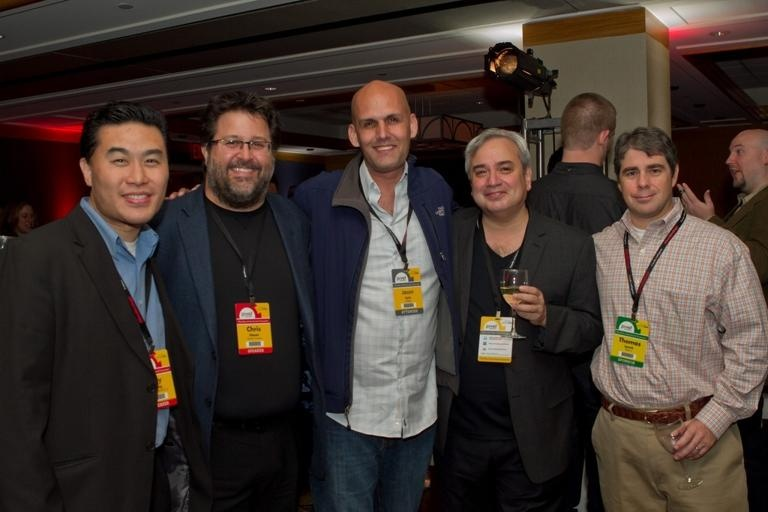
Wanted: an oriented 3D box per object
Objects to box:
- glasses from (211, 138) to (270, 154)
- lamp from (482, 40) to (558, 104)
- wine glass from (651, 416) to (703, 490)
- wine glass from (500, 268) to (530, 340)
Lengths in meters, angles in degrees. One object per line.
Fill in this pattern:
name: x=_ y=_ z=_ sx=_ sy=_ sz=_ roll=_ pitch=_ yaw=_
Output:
glasses: x=-0.769 y=-0.600 z=2.927 sx=0.307 sy=0.071 sz=0.076 roll=-3 pitch=6 yaw=-13
lamp: x=1.419 y=-1.813 z=5.408 sx=0.766 sy=0.432 sz=0.443 roll=6 pitch=4 yaw=-40
wine glass: x=1.544 y=1.115 z=3.031 sx=0.306 sy=0.338 sz=0.256 roll=-22 pitch=-18 yaw=16
wine glass: x=0.711 y=0.270 z=2.942 sx=0.121 sy=0.406 sz=0.181 roll=1 pitch=7 yaw=19
